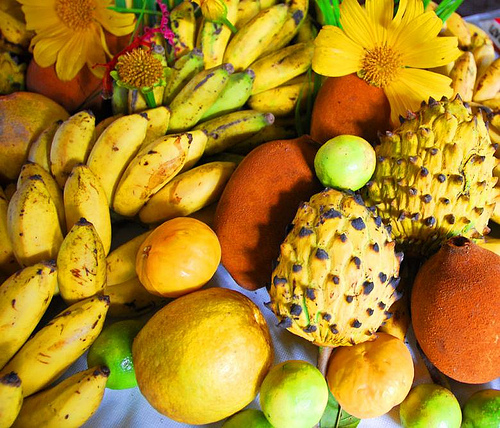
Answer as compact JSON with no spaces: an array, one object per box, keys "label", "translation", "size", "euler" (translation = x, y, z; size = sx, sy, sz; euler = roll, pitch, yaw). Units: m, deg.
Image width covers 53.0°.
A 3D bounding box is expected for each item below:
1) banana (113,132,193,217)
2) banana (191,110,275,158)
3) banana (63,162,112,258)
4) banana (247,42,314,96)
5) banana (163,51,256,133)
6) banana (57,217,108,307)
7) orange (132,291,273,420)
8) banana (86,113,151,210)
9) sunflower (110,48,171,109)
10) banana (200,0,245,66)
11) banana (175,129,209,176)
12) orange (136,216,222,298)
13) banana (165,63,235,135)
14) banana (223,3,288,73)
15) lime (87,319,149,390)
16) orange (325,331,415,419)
[{"label":"banana","translation":[-0.227,-0.088,1.151],"size":[0.190,0.210,0.074],"euler":[-24,64,-24]},{"label":"banana","translation":[-0.060,-0.228,1.302],"size":[0.261,0.099,0.085],"euler":[-3,36,20]},{"label":"banana","translation":[-0.331,-0.015,1.065],"size":[0.083,0.188,0.098],"euler":[-4,22,-11]},{"label":"banana","translation":[0.075,-0.410,1.375],"size":[0.126,0.143,0.152],"euler":[24,31,35]},{"label":"banana","translation":[-0.112,-0.331,1.306],"size":[0.253,0.157,0.069],"euler":[-36,28,9]},{"label":"banana","translation":[-0.334,0.099,0.987],"size":[0.076,0.189,0.073],"euler":[-4,17,-18]},{"label":"orange","translation":[-0.089,0.314,1.078],"size":[0.279,0.254,0.242],"euler":[-18,47,-2]},{"label":"banana","translation":[-0.317,-0.137,1.199],"size":[0.095,0.280,0.104],"euler":[31,50,-16]},{"label":"sunflower","translation":[-0.262,-0.313,1.149],"size":[0.098,0.114,0.102],"euler":[-5,24,-12]},{"label":"banana","translation":[-0.077,-0.469,1.311],"size":[0.064,0.207,0.053],"euler":[24,9,-43]},{"label":"banana","translation":[-0.130,-0.155,1.181],"size":[0.060,0.112,0.066],"euler":[1,28,-8]},{"label":"orange","translation":[-0.151,0.079,1.083],"size":[0.138,0.170,0.155],"euler":[3,12,17]},{"label":"banana","translation":[-0.132,-0.301,1.248],"size":[0.195,0.171,0.085],"euler":[-31,67,-27]},{"label":"banana","translation":[0.014,-0.483,1.359],"size":[0.086,0.122,0.221],"euler":[37,59,13]},{"label":"lime","translation":[-0.274,0.288,1.079],"size":[0.130,0.100,0.104],"euler":[-31,85,-34]},{"label":"orange","translation":[0.234,0.317,0.980],"size":[0.145,0.091,0.175],"euler":[10,69,17]}]
